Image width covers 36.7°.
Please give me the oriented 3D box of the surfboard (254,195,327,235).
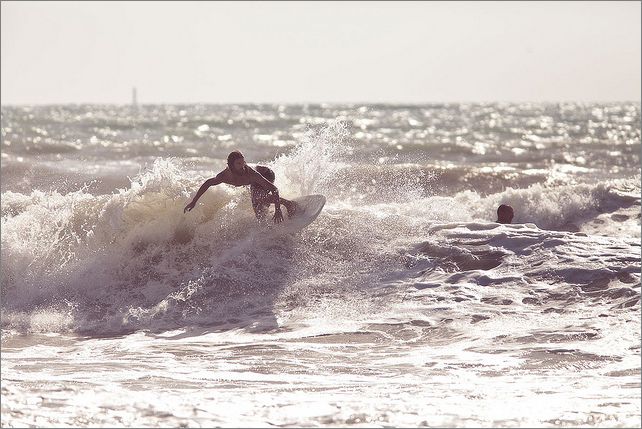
[{"bbox_3d":[-0.390,-0.052,13.261,0.855,0.493,0.132,-25,-42,-10],"label":"surfboard"}]
